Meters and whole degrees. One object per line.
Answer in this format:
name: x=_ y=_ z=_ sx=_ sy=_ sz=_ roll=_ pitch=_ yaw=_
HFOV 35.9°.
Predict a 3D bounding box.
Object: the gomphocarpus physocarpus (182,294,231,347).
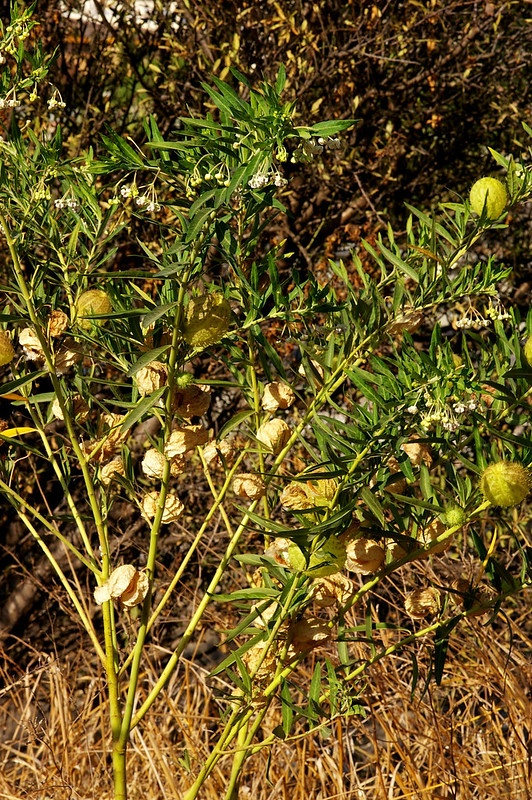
gomphocarpus physocarpus: x=-0.058 y=-0.077 z=0.793 sx=0.047 sy=0.047 sz=0.039 roll=-12 pitch=45 yaw=-15
